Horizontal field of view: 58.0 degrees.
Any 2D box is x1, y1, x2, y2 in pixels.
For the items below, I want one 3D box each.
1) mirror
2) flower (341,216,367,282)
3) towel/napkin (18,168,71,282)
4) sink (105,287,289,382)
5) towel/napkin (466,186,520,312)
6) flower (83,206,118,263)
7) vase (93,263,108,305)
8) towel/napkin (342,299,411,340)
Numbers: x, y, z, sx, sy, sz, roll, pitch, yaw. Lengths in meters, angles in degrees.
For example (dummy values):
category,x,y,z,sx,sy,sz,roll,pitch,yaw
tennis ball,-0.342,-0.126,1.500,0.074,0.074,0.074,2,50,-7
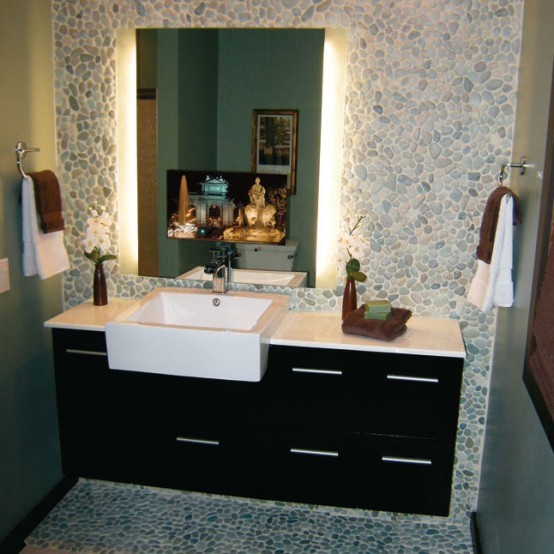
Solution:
category,x,y,z,sx,sy,sz,roll,pitch,yaw
mirror,-0.186,-0.588,2.270,0.993,1.474,0.016,1,8,6
flower,0.352,-0.113,2.210,0.093,0.309,0.183,3,12,7
towel/napkin,-1.000,-0.219,2.158,0.110,0.429,0.229,6,12,23
sink,-0.303,0.223,2.104,0.610,0.225,0.569,4,13,11
towel/napkin,0.804,-0.106,1.834,0.134,0.450,0.239,4,12,14
flower,-0.847,-0.206,2.381,0.151,0.269,0.286,-4,13,-22
vase,-0.839,0.022,2.356,0.063,0.208,0.106,-3,12,-21
towel/napkin,0.436,0.191,2.061,0.321,0.078,0.176,-7,15,-34
